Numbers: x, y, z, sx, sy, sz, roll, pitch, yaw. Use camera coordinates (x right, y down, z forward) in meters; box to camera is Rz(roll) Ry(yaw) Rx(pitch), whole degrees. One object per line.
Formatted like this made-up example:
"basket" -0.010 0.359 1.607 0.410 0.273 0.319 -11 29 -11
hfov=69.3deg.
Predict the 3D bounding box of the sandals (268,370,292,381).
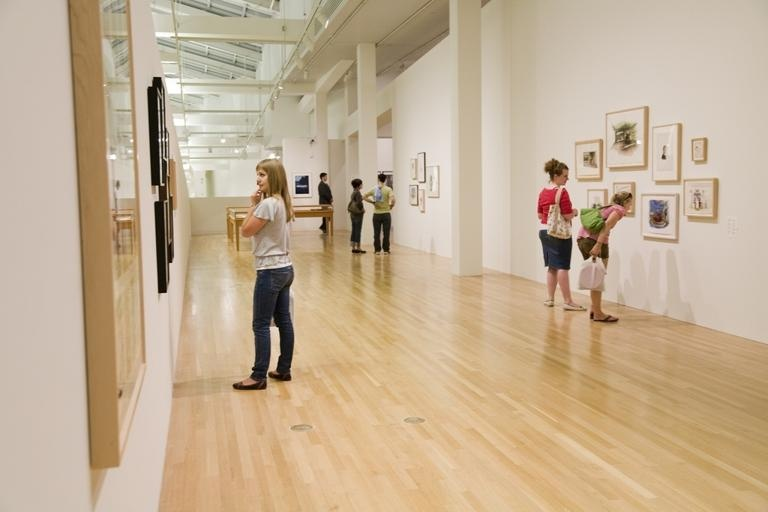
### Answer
"sandals" -0.961 1.110 5.101 0.234 0.095 0.085 14 10 43

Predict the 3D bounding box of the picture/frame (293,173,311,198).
"picture/frame" -3.166 -2.746 21.152 0.897 1.095 0.077 0 6 -15

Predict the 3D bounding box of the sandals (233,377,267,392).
"sandals" -1.170 1.132 4.887 0.299 0.125 0.113 3 -2 -2

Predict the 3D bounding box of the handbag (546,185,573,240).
"handbag" 2.347 -0.567 7.427 0.290 0.678 0.162 -3 7 -14

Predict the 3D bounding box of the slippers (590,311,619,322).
"slippers" 2.767 0.740 6.918 0.344 0.143 0.121 -3 7 -9

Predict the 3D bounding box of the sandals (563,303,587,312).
"sandals" 2.602 0.690 7.552 0.237 0.100 0.127 -1 -1 0

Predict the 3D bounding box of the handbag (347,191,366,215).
"handbag" -0.762 -1.404 14.667 0.356 0.618 0.384 -2 7 -9

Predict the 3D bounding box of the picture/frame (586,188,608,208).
"picture/frame" 3.087 -0.844 8.000 0.048 0.298 0.348 0 7 -20

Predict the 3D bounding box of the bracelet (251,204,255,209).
"bracelet" -1.107 -0.417 4.654 0.019 0.033 0.060 3 1 0

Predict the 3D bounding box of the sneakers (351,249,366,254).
"sneakers" -0.649 -0.117 14.077 0.361 0.157 0.123 -1 4 -22

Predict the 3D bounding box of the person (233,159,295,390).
"person" -1.039 0.157 4.880 0.494 2.016 0.580 -2 7 -9

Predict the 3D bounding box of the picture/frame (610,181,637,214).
"picture/frame" 3.088 -0.742 7.100 0.076 0.491 0.473 -1 4 -15

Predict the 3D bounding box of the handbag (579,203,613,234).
"handbag" 2.661 -0.465 6.918 0.175 0.287 0.346 7 -33 -8
